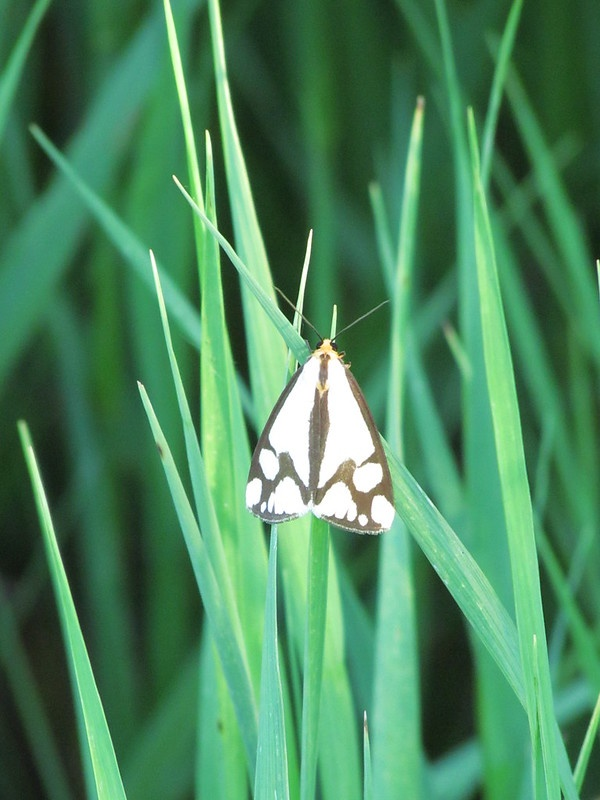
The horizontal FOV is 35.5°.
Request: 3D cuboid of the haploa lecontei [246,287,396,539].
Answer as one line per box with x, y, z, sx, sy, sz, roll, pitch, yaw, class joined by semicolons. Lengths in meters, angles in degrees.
0.015;0.028;0.749;0.117;0.173;0.116;-1;-44;-5;haploa lecontei
